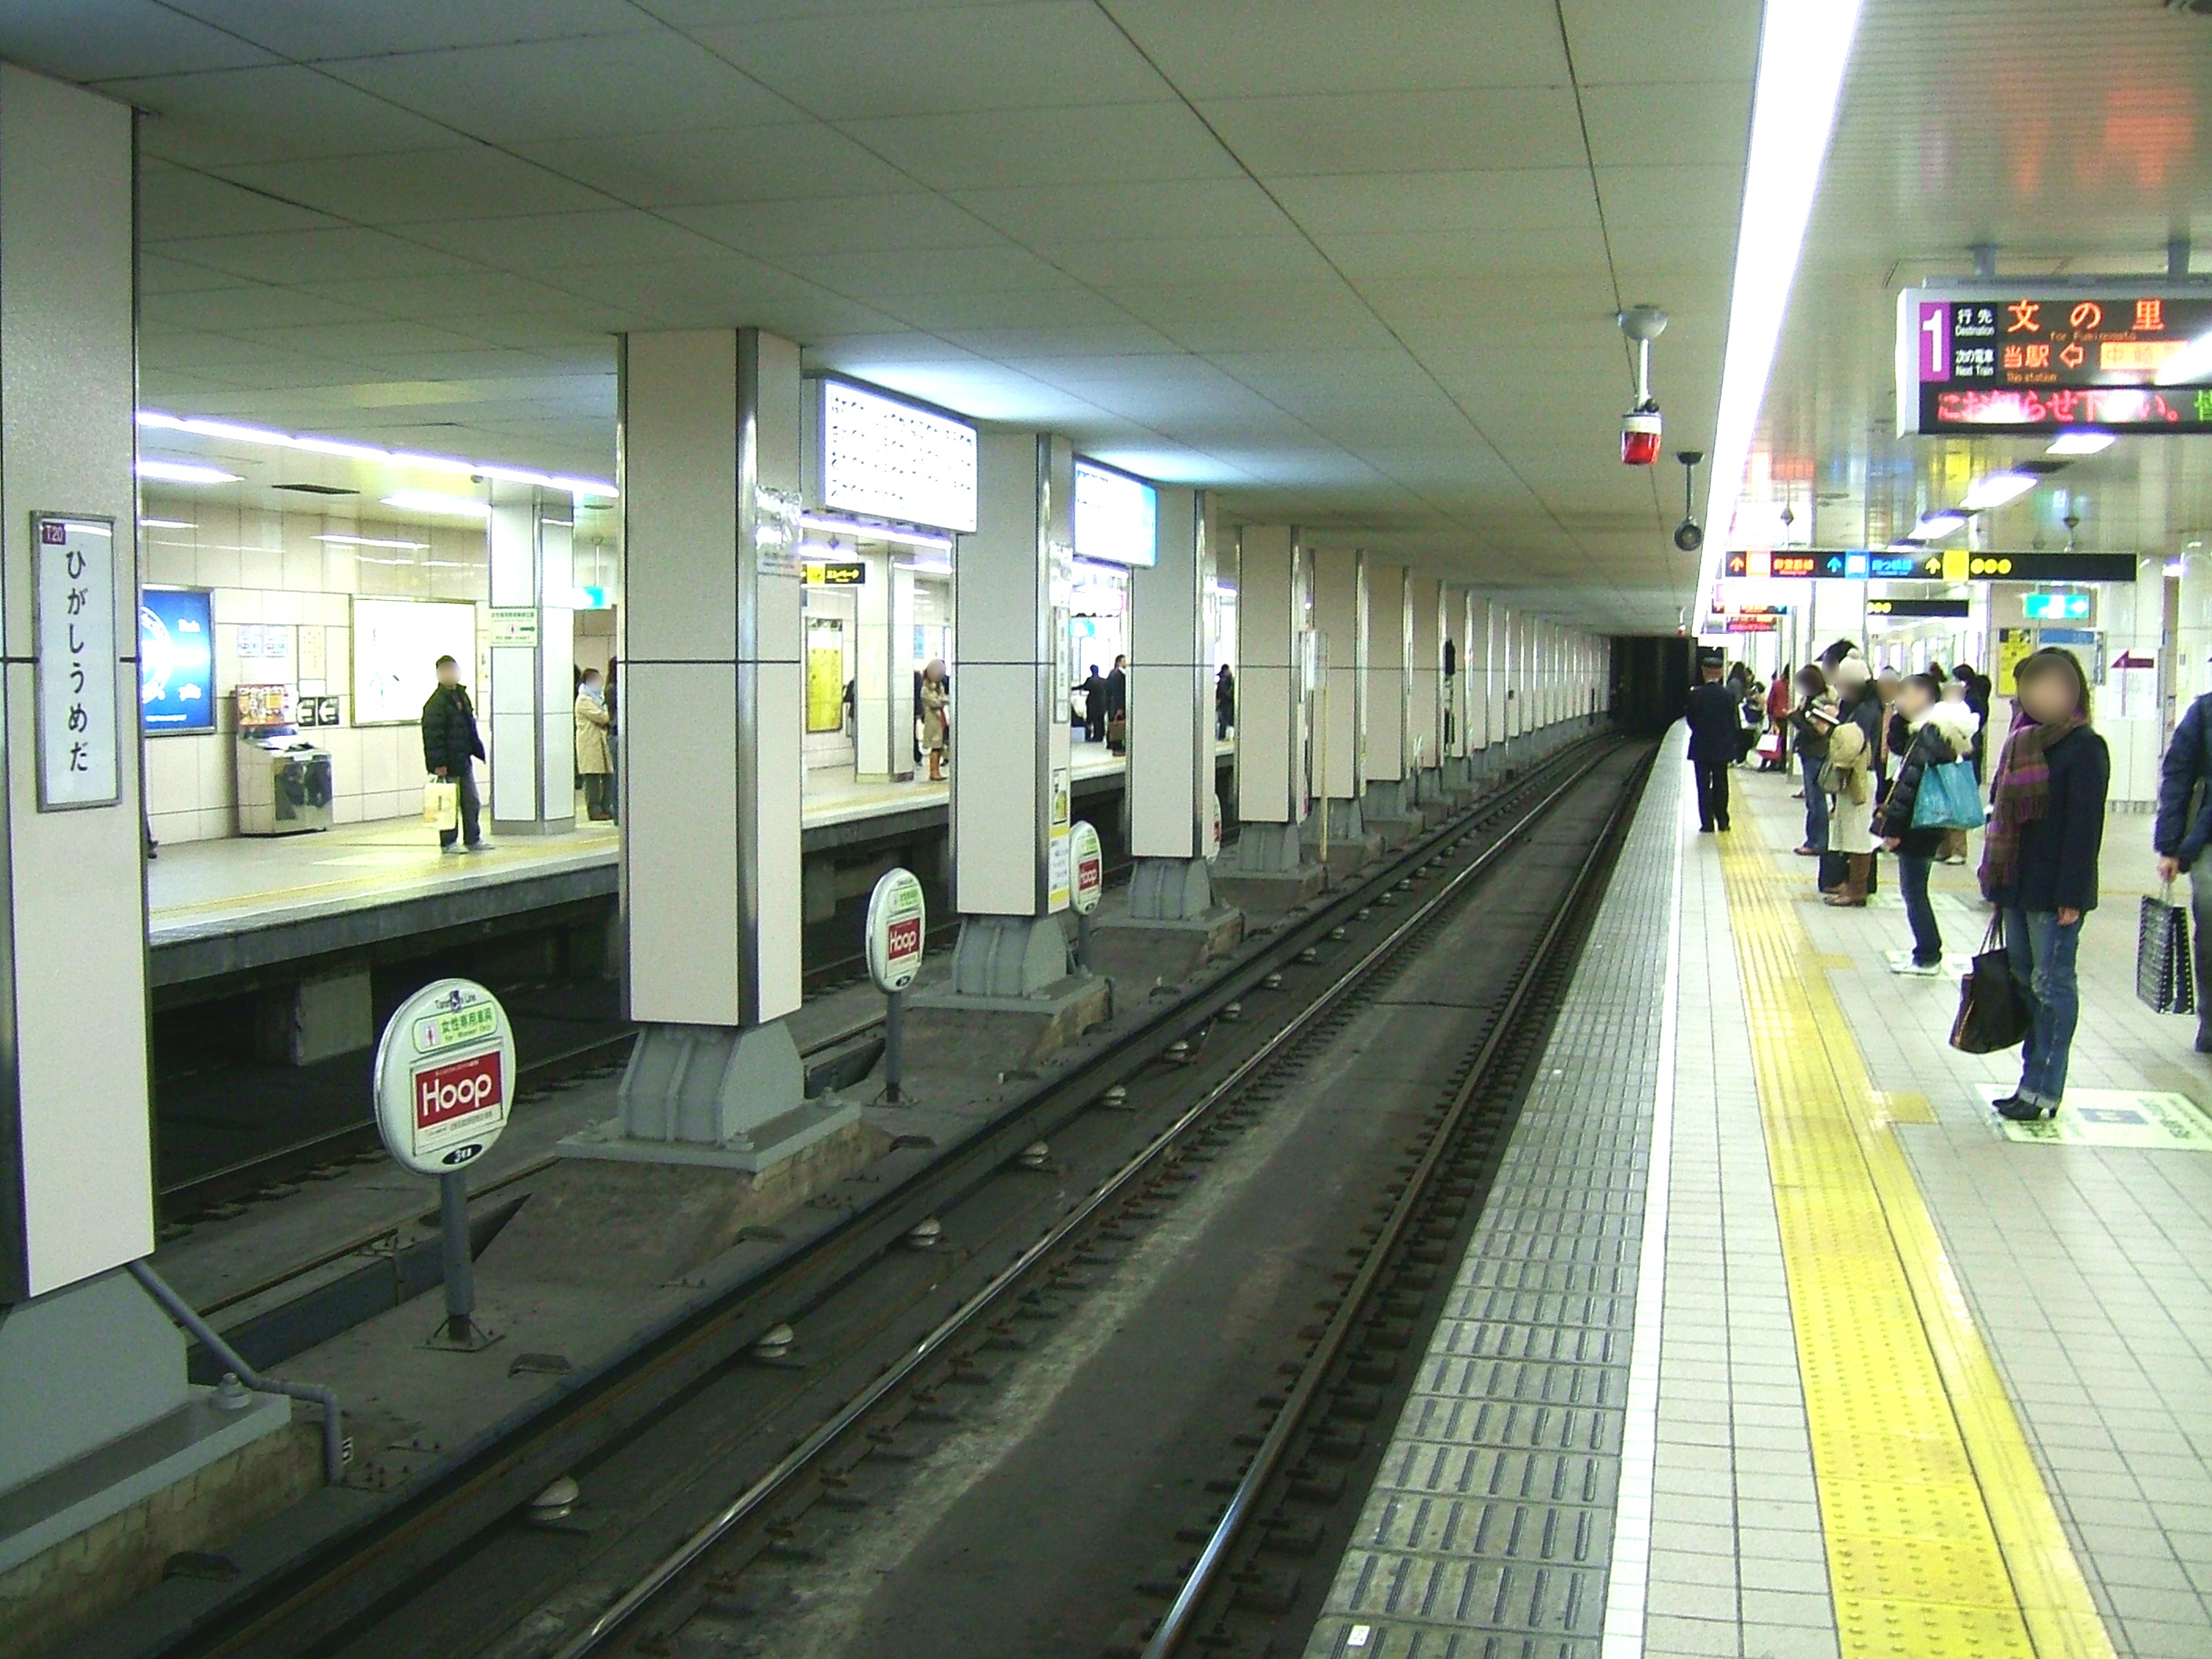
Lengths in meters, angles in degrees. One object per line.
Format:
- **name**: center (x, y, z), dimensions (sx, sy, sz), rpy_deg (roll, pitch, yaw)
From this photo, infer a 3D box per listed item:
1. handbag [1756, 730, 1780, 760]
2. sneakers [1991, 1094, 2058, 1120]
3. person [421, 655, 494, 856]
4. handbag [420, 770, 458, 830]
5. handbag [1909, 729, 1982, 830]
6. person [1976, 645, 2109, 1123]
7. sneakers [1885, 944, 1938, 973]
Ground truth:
- **handbag**: center (12.904, -1.662, 39.348), dimensions (0.194, 0.719, 0.792), rpy_deg (1, -1, 28)
- **sneakers**: center (4.475, 1.368, 9.831), dimensions (0.218, 0.100, 0.121), rpy_deg (-4, 1, 31)
- **person**: center (-5.553, -0.639, 17.042), dimensions (0.421, 1.635, 0.916), rpy_deg (-4, 8, -18)
- **handbag**: center (-5.548, -0.210, 16.738), dimensions (0.355, 0.468, 0.204), rpy_deg (-1, 7, 8)
- **handbag**: center (5.348, -0.311, 12.895), dimensions (0.265, 0.640, 0.645), rpy_deg (-2, 2, 39)
- **person**: center (4.448, 0.291, 9.598), dimensions (0.522, 2.283, 0.659), rpy_deg (1, 8, 23)
- **sneakers**: center (5.524, 0.903, 13.787), dimensions (0.290, 0.132, 0.112), rpy_deg (3, 11, 15)
